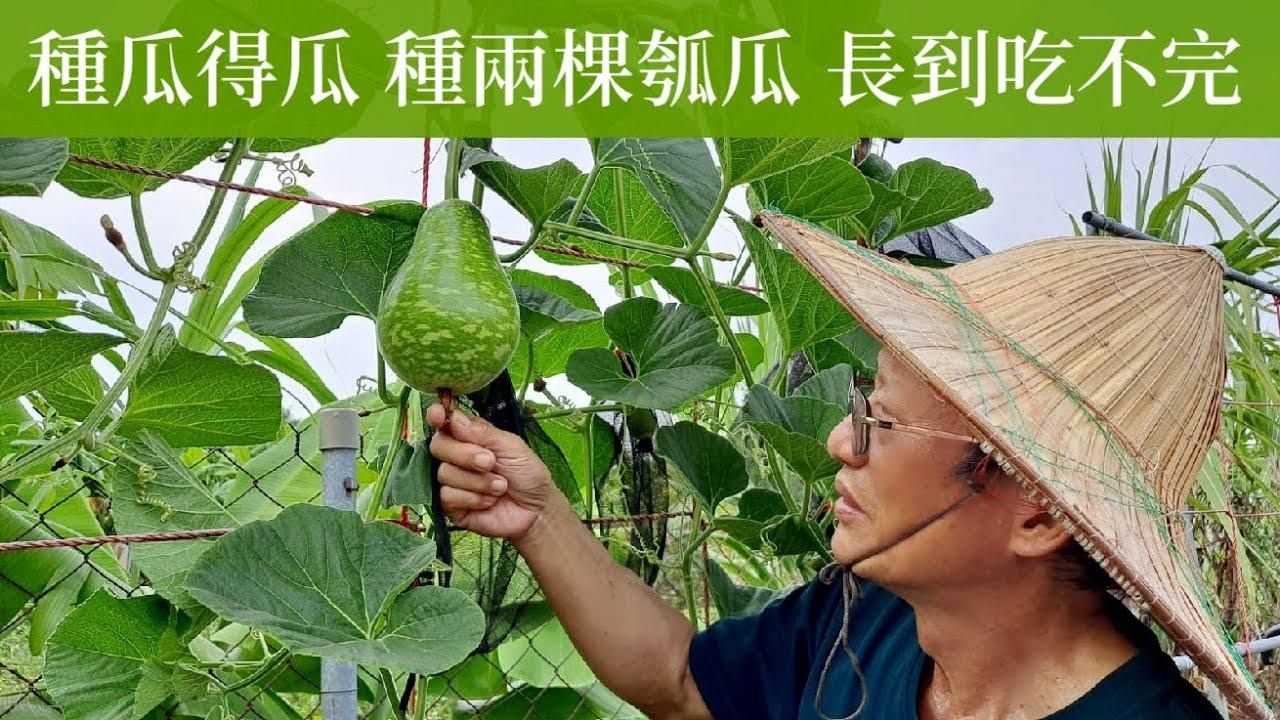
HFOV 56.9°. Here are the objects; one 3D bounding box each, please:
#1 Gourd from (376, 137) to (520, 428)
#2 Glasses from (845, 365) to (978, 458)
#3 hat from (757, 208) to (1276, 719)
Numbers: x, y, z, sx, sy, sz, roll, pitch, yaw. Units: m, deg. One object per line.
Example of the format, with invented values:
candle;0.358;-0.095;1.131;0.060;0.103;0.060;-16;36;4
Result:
Gourd;-0.448;-0.148;2.632;0.339;0.429;0.313;4;4;-12
Glasses;0.620;0.125;2.756;0.214;0.063;0.200;8;11;-6
hat;0.957;0.260;2.693;0.961;1.171;0.230;-4;-10;-16
